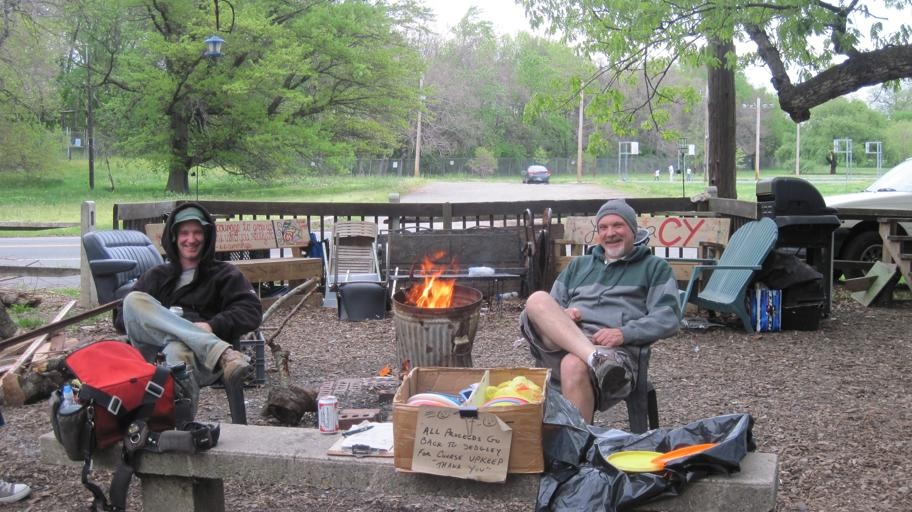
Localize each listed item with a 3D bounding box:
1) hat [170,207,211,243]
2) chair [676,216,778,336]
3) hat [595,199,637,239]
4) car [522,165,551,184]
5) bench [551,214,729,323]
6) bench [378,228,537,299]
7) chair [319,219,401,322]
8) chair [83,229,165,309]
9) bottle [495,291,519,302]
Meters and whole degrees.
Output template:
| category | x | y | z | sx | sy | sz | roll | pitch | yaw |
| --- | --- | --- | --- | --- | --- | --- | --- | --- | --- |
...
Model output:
| category | x | y | z | sx | sy | sz | roll | pitch | yaw |
| --- | --- | --- | --- | --- | --- | --- | --- | --- | --- |
| hat | -4.199 | -0.483 | 13.974 | 0.538 | 0.488 | 0.634 | 5 | -19 | -28 |
| chair | 4.420 | 0.343 | 16.512 | 2.405 | 1.940 | 1.956 | -3 | 6 | -29 |
| hat | 2.472 | -0.644 | 13.897 | 0.591 | 0.490 | 0.567 | 5 | -21 | 9 |
| car | 4.915 | -4.999 | 56.579 | 1.040 | 0.961 | 1.624 | -7 | 10 | -30 |
| bench | 3.546 | 0.046 | 17.906 | 3.137 | 1.566 | 1.248 | 4 | 1 | 18 |
| bench | -0.077 | 0.326 | 17.300 | 2.842 | 1.430 | 1.027 | -2 | 14 | 3 |
| chair | -1.605 | 0.390 | 17.752 | 1.228 | 1.847 | 2.021 | 0 | -4 | -11 |
| chair | -5.672 | 0.216 | 15.580 | 1.246 | 1.384 | 1.248 | -8 | 5 | 27 |
| bottle | 1.090 | 0.804 | 18.220 | 0.389 | 0.169 | 0.146 | 2 | -3 | -9 |
